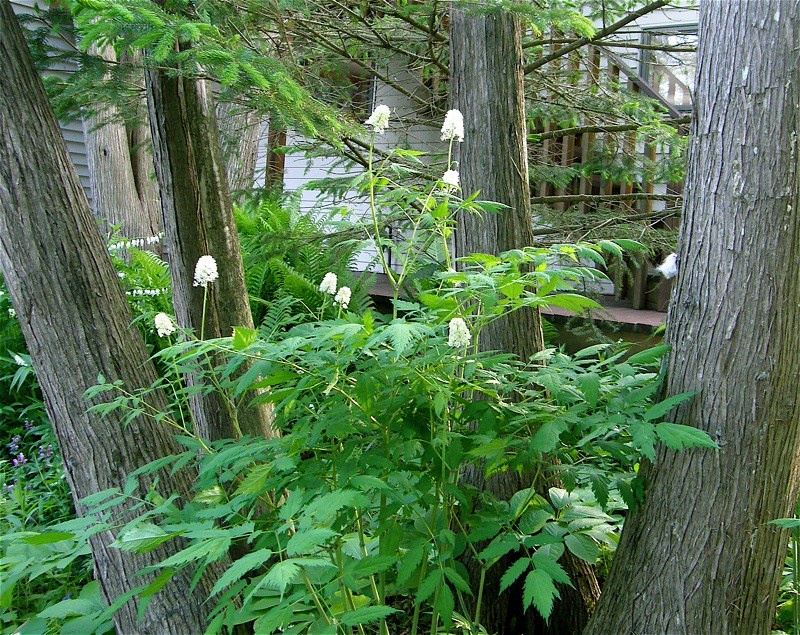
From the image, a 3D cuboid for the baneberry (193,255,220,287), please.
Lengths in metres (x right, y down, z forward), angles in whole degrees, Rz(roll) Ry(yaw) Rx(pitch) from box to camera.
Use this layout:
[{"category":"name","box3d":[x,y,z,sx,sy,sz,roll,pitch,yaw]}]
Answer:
[{"category":"baneberry","box3d":[-0.765,-0.177,2.759,0.069,0.125,0.252,-10,14,-19]}]
